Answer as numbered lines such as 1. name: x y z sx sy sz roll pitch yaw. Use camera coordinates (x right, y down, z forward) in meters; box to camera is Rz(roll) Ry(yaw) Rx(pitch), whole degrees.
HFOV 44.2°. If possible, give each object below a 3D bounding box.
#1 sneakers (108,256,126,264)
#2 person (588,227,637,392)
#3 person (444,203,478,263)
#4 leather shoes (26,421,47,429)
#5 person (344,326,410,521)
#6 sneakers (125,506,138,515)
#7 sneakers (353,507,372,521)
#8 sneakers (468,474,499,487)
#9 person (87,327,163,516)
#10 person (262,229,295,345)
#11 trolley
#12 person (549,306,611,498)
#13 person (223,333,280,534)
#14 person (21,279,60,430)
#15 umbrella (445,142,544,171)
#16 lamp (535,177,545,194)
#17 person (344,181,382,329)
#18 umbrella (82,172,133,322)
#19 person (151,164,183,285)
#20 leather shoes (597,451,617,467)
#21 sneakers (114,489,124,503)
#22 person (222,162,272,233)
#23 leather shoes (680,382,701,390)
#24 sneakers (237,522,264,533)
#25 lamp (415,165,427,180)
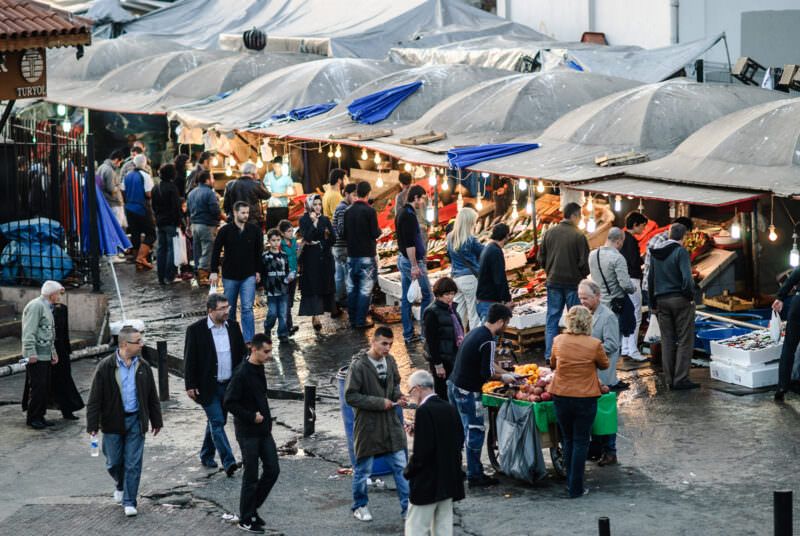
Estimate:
1. sneakers: -6.658 -0.178 23.149 0.358 0.145 0.129 -5 11 -11
2. person: 3.717 0.719 16.692 0.901 2.596 0.940 -3 5 -32
3. person: 1.085 -0.665 17.145 0.480 0.756 0.488 -1 6 0
4. leather shoes: -5.752 2.482 15.625 0.283 0.121 0.117 3 8 12
5. person: -0.308 2.048 12.906 0.804 2.525 0.567 -1 6 -4
6. sneakers: -3.575 3.243 13.113 0.153 0.124 0.093 -2 6 -12
7. sneakers: -0.469 3.236 12.919 0.117 0.110 0.279 -2 0 -30
8. sneakers: 1.151 2.937 13.614 0.443 0.187 0.158 -2 5 -4
9. person: -3.691 2.050 13.234 0.957 2.456 0.586 -2 6 -17
10. person: -2.254 0.361 18.422 0.596 2.192 0.839 -1 6 -8
11. trolley: 2.037 2.114 13.991 1.988 1.459 1.889 1 -28 2
12. person: 2.385 1.792 13.180 0.745 2.521 0.442 1 6 11
13. person: -1.929 2.152 12.884 0.651 2.513 0.690 -2 6 -10
14. person: -5.643 1.388 15.612 0.595 2.298 0.344 -3 6 -21
15. umbrella: 1.690 -2.233 19.252 2.279 0.328 0.661 -8 34 -17
16. lamp: 2.650 -1.565 18.562 0.161 0.163 0.352 10 12 2
17. person: -0.711 -0.202 18.794 0.680 2.873 0.645 -1 6 -3
18. umbrella: -5.950 -0.452 20.082 0.909 2.829 2.671 -2 6 -15
19. person: -5.114 -0.939 21.801 0.644 2.700 0.856 -2 6 -15
20. leather shoes: 2.924 2.706 13.856 0.131 0.139 0.330 1 0 42
21. sneakers: -3.823 3.122 13.416 0.101 0.119 0.282 1 3 -18
22. person: -3.319 -1.088 21.138 0.961 2.241 0.596 0 -2 14
23. leather shoes: 4.714 1.906 15.937 0.399 0.124 0.090 -3 7 -21
24. sneakers: -1.918 3.358 12.736 0.319 0.125 0.121 1 5 9
25. lamp: 0.497 -2.263 23.360 0.283 0.282 0.111 7 1 20
